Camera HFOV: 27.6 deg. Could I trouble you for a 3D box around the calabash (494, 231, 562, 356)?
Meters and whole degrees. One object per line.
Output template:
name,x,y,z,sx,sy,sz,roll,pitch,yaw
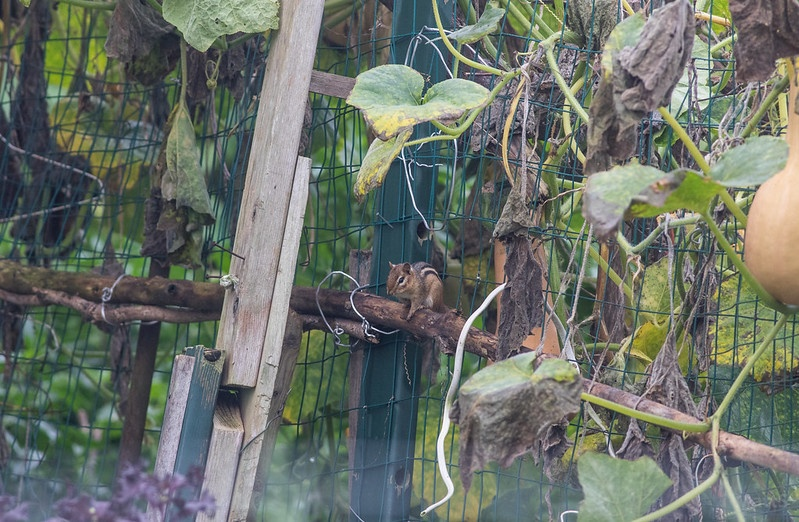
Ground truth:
calabash,0.679,0.192,8.921,0.262,0.840,0.291,-1,0,5
